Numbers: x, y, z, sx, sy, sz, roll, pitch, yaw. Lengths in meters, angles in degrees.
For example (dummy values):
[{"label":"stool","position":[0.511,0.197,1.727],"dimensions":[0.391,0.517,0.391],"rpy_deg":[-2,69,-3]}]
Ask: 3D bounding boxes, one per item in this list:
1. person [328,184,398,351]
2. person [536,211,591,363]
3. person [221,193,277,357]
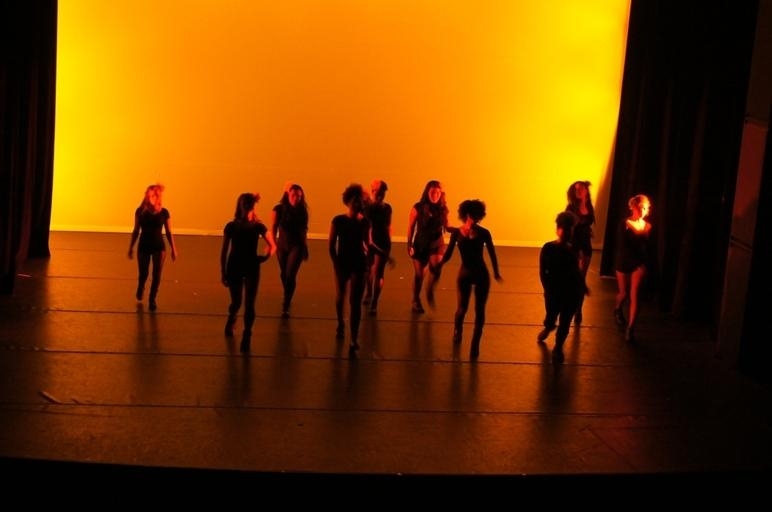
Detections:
[{"label":"person","position":[-0.415,0.123,9.093],"dimensions":[0.638,2.089,1.079],"rpy_deg":[3,3,-1]},{"label":"person","position":[2.245,0.365,8.988],"dimensions":[0.571,1.401,0.683],"rpy_deg":[4,3,6]},{"label":"person","position":[-1.806,0.167,9.053],"dimensions":[0.616,1.943,1.008],"rpy_deg":[3,3,-14]}]
